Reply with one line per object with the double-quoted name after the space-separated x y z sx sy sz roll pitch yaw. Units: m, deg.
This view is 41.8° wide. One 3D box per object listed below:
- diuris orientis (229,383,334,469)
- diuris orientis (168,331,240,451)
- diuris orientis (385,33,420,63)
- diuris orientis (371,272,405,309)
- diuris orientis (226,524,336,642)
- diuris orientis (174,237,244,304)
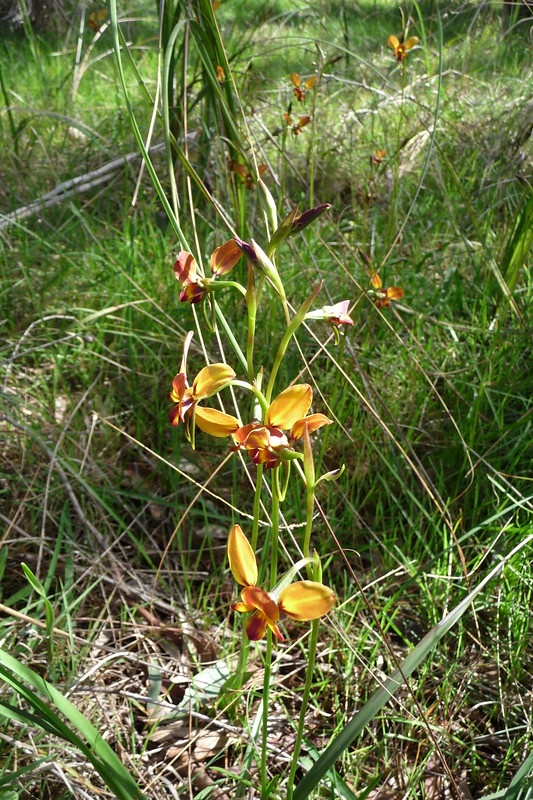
0.032 0.049 0.975 0.106 0.101 0.056 -16 46 10 "diuris orientis"
-0.085 0.002 1.009 0.081 0.145 0.141 19 -10 -14 "diuris orientis"
0.412 -1.055 2.108 0.077 0.084 0.156 -3 36 7 "diuris orientis"
0.326 -0.313 1.982 0.052 0.105 0.115 -27 14 -19 "diuris orientis"
0.013 0.248 0.951 0.160 0.089 0.166 22 24 1 "diuris orientis"
-0.105 -0.207 1.099 0.106 0.108 0.036 -29 28 -13 "diuris orientis"
